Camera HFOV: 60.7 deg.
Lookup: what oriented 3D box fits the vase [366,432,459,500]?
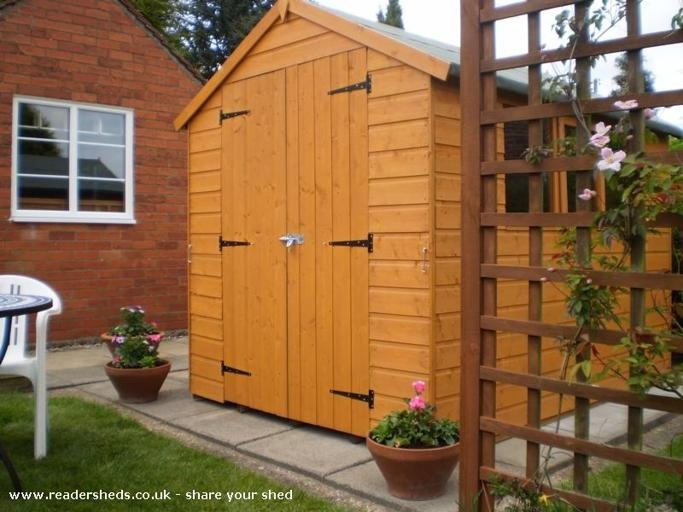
[{"bbox_3d":[0.560,1.427,3.976,0.721,0.350,0.717,-1,-10,-12],"label":"vase"}]

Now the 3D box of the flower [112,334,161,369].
[{"bbox_3d":[-2.059,0.975,5.898,0.426,0.217,0.422,1,-5,-16],"label":"flower"}]

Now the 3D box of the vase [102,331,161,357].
[{"bbox_3d":[-2.355,0.970,6.611,0.562,0.196,0.559,1,-2,-33],"label":"vase"}]

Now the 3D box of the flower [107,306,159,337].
[{"bbox_3d":[-2.639,0.820,7.325,0.549,0.385,0.550,4,2,29],"label":"flower"}]

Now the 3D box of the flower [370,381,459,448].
[{"bbox_3d":[0.481,1.101,3.853,0.464,0.297,0.462,2,-3,-31],"label":"flower"}]
